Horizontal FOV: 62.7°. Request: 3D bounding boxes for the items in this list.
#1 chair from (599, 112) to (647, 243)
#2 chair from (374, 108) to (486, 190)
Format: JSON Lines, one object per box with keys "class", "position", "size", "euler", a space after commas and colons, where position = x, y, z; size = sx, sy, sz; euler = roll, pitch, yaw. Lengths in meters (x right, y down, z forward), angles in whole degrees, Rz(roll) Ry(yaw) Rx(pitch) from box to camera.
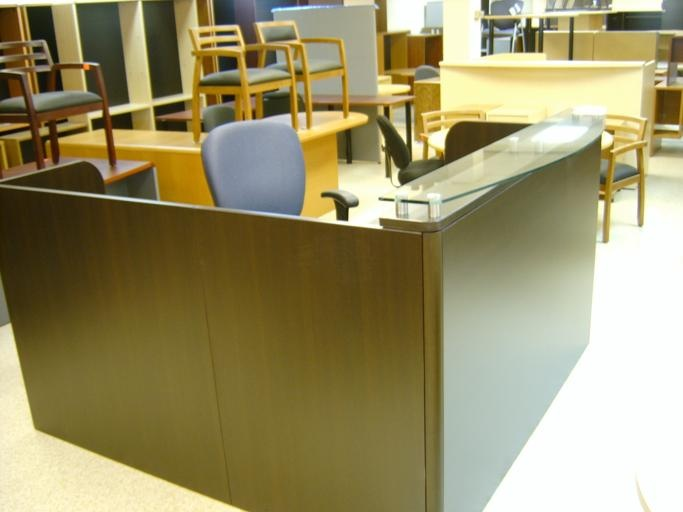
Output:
{"class": "chair", "position": [2.644, -0.856, 5.258], "size": [0.402, 0.943, 2.332], "euler": [6, 18, 27]}
{"class": "chair", "position": [0.832, -0.907, 5.136], "size": [0.904, 0.778, 2.046], "euler": [1, 16, 10]}
